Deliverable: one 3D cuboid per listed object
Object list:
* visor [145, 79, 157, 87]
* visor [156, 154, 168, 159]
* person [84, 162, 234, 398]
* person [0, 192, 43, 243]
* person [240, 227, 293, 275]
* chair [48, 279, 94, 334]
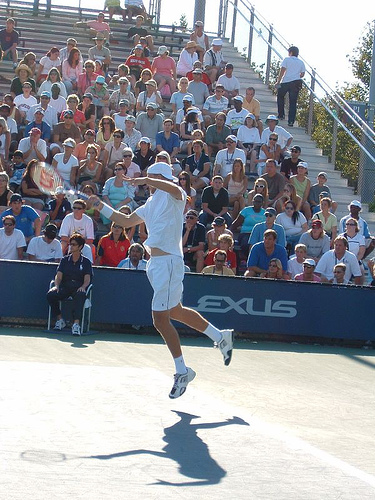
[{"bbox_3d":[-0.771,-3.529,16.240,0.211,0.150,0.280,5,1,-9],"label":"visor"},{"bbox_3d":[-0.217,-0.802,6.593,0.065,0.018,0.067,6,-10,37],"label":"visor"},{"bbox_3d":[-0.176,0.295,6.041,1.418,1.618,0.710,4,2,-42],"label":"person"},{"bbox_3d":[-2.474,-0.449,11.344,0.647,0.745,0.532,-15,13,-15],"label":"person"},{"bbox_3d":[1.115,0.039,11.157,0.505,0.720,0.435,19,22,14],"label":"person"},{"bbox_3d":[-1.442,0.696,9.460,0.637,0.729,0.436,-1,-12,9],"label":"chair"}]
